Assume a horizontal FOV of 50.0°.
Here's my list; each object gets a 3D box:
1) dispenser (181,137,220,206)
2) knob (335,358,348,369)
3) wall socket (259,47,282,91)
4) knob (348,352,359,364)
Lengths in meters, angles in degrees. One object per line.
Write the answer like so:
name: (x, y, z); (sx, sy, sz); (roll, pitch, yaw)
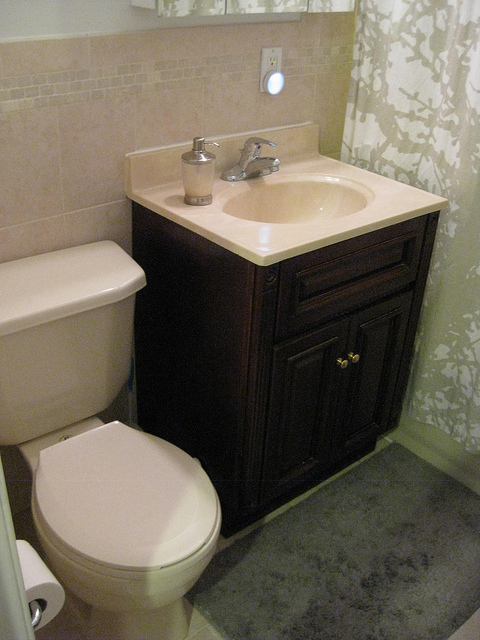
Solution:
dispenser: (-0.112, -0.404, 1.390); (0.107, 0.165, 0.111); (-11, 29, -21)
knob: (0.300, 0.127, 1.528); (0.033, 0.024, 0.012); (39, -11, -18)
wall socket: (0.091, -0.792, 1.607); (0.093, 0.135, 0.011); (-24, 39, -30)
knob: (0.339, 0.112, 1.554); (0.023, 0.021, 0.033); (-37, 42, -22)
